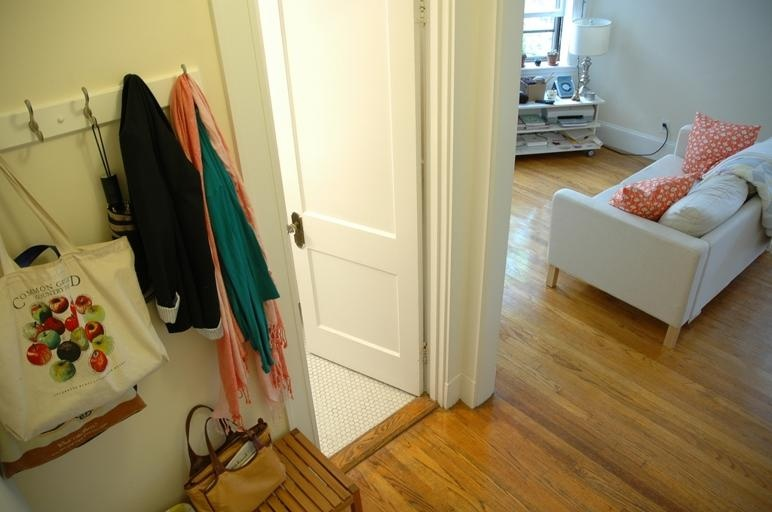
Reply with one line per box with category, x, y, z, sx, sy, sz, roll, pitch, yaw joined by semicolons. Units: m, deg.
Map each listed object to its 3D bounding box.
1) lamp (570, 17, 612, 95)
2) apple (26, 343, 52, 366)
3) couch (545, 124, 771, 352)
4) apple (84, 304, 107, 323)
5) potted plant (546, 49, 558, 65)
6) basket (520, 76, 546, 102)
lamp;2.249;-2.189;5.736;0.400;0.812;0.662;8;33;20
apple;-1.250;0.350;1.852;0.046;0.064;0.046;11;46;-8
couch;1.933;-0.506;3.581;1.978;0.969;1.080;-38;50;-25
apple;-1.081;0.213;1.924;0.058;0.057;0.059;-13;58;-5
potted plant;1.984;-2.363;6.135;0.128;0.133;0.277;5;32;15
basket;1.692;-1.925;5.911;0.276;0.230;0.384;4;32;14
